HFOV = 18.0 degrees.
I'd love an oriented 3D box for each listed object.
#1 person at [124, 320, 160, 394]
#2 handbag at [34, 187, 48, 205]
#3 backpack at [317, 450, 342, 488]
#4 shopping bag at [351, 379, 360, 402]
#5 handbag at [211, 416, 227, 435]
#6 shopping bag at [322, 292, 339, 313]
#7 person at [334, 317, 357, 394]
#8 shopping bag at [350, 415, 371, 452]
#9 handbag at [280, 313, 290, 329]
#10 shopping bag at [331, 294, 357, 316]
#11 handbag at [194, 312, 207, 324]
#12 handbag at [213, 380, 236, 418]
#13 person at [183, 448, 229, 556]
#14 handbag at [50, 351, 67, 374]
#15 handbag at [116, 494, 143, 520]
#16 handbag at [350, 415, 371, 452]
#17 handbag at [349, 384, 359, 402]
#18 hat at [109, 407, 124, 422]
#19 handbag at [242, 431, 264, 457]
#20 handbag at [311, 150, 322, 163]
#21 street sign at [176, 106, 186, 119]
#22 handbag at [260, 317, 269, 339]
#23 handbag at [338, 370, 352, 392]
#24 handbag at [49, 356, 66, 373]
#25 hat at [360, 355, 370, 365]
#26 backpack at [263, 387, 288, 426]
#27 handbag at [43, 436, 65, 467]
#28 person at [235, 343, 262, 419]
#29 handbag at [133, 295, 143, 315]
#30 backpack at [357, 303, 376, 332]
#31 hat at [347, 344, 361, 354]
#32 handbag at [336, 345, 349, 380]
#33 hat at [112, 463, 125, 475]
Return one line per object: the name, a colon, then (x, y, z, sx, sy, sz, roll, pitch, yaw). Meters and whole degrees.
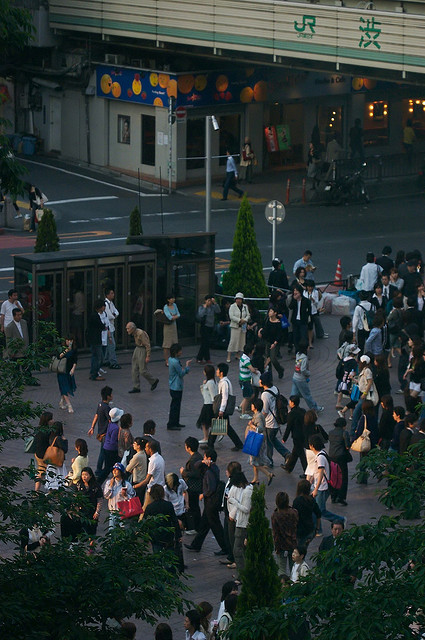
person: (-1.165, 0.629, 22.182, 0.604, 1.368, 0.530, -10, 25, -23)
handbag: (-4.348, -3.255, 34.444, 0.348, 0.520, 0.174, 0, -2, -2)
backpack: (1.274, 1.729, 15.354, 0.409, 0.464, 0.270, 0, 8, 3)
shopping bag: (1.970, 0.975, 18.469, 0.077, 0.259, 0.251, 4, 17, -4)
handbag: (0.105, 1.377, 17.299, 0.246, 0.385, 0.190, 0, -3, -2)
shopping bag: (2.299, -0.351, 26.594, 0.269, 0.376, 0.361, 5, -2, -7)
person: (2.035, 0.538, 20.213, 0.337, 1.194, 0.323, -3, 8, -37)
shopping bag: (1.810, 1.399, 16.339, 0.242, 0.449, 0.296, 1, 5, 10)
handbag: (1.190, 0.012, 22.095, 0.115, 0.224, 0.163, -25, -1, 34)
shopping bag: (2.563, -0.276, 26.301, 0.411, 0.344, 0.329, -2, 2, 15)
handbag: (-0.182, -0.044, 22.769, 0.133, 0.207, 0.098, 13, -13, -20)
handbag: (0.155, 1.016, 17.340, 0.267, 0.495, 0.279, 0, 4, -1)
person: (-0.072, 2.032, 14.553, 0.558, 1.238, 0.446, 5, 37, 6)
handbag: (-2.177, 0.645, 19.288, 0.223, 0.286, 0.677, 0, 5, -7)
handbag: (-0.848, 1.983, 14.304, 0.130, 0.260, 0.342, 4, 6, 42)
handbag: (1.817, 1.410, 16.364, 0.192, 0.616, 0.385, 7, -11, -13)
handbag: (1.962, 1.007, 18.573, 0.079, 0.262, 0.253, 2, 14, -6)
hat: (-1.150, 1.149, 16.239, 0.152, 0.165, 0.321, 0, 5, -6)
handbag: (0.532, 1.521, 16.278, 0.290, 0.342, 0.250, -2, 5, -28)
handbag: (3.269, -5.053, 41.577, 0.248, 0.288, 0.142, -1, 4, -12)
street sign: (-0.929, -6.333, 40.630, 0.189, 0.367, 0.493, 3, 6, 33)
handbag: (0.836, 0.131, 21.600, 0.090, 0.267, 0.178, 16, -5, 10)
handbag: (1.957, 0.891, 19.688, 0.088, 0.332, 0.304, -1, 5, -15)
handbag: (-2.204, 0.643, 19.374, 0.214, 0.226, 0.501, 0, 5, -8)
hat: (2.094, 0.536, 18.418, 0.085, 0.082, 0.119, 9, -38, 8)
backpack: (0.877, 1.138, 16.978, 0.400, 0.469, 0.264, -2, 8, 19)
handbag: (-1.778, 1.522, 15.243, 0.227, 0.406, 0.449, 0, 5, -8)
person: (0.536, 0.918, 19.390, 0.414, 1.147, 0.407, -8, 36, -8)
handbag: (-1.302, -0.272, 23.967, 0.155, 0.322, 0.096, 0, 4, -4)
backpack: (2.474, -0.010, 21.448, 0.206, 0.388, 0.352, -1, 0, -19)
hat: (2.096, 0.432, 19.759, 0.142, 0.148, 0.246, 4, 6, 36)
handbag: (1.941, 0.744, 20.198, 0.157, 0.253, 0.235, -1, 34, 12)
hat: (-0.975, 1.595, 14.402, 0.081, 0.076, 0.134, 3, -38, 42)
